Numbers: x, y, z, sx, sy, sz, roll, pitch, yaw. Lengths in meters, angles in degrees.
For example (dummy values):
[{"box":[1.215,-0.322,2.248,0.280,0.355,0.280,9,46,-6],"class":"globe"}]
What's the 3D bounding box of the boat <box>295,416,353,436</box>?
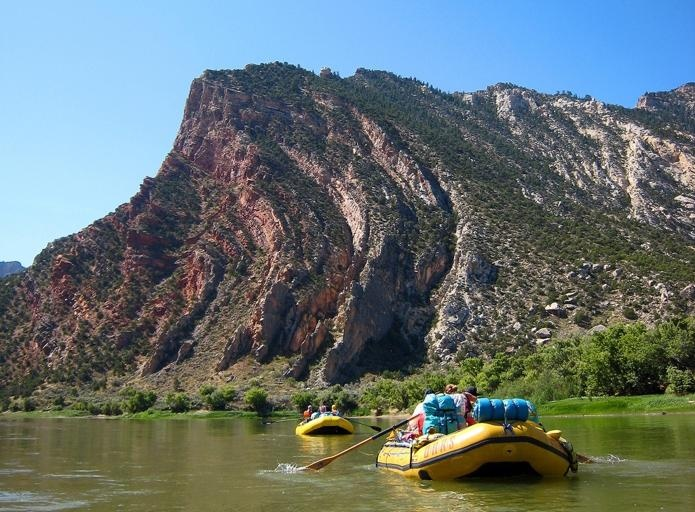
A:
[{"box":[-2.401,19.796,91.830,5.658,2.867,1.163,-6,-61,-12],"class":"boat"}]
